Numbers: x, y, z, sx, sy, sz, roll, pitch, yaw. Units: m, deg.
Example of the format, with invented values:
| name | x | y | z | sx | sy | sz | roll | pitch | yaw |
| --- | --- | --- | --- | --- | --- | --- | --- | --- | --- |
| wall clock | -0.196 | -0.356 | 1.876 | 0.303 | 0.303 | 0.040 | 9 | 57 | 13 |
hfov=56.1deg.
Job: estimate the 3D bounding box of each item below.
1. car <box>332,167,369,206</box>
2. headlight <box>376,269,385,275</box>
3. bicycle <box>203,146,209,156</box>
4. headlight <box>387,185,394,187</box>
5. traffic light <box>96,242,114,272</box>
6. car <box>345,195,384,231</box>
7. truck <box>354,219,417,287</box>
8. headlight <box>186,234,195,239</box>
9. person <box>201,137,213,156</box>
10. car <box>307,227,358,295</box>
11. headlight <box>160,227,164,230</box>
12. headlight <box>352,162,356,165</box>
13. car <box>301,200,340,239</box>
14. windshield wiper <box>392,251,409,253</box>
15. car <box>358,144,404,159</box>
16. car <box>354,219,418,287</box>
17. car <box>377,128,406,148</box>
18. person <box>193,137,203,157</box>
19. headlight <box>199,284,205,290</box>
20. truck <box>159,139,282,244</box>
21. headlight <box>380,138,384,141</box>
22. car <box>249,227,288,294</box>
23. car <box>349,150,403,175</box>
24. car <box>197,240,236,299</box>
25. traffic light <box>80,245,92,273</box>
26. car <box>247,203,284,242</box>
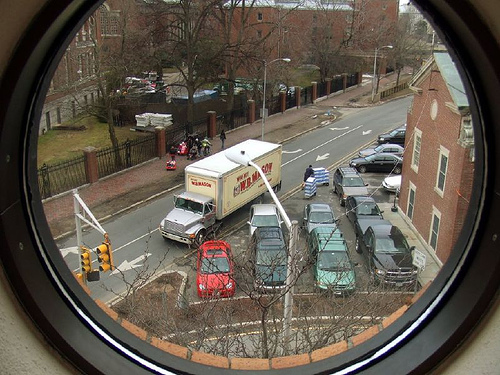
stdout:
| name | x | y | z | sx | sy | sz | roll | pitch | yaw |
| --- | --- | --- | --- | --- | --- | --- | --- | --- | --- |
| car | 5.644 | -0.006 | 26.630 | 1.502 | 1.721 | 3.781 | 3 | 16 | -1 |
| headlight | 4.684 | 3.054 | 16.919 | 0.286 | 0.230 | 0.536 | -3 | -13 | 15 |
| bicycle | -3.128 | -2.562 | 33.089 | 0.149 | 0.504 | 0.457 | 3 | 17 | 0 |
| headlight | 8.045 | -0.075 | 27.195 | 0.291 | 0.126 | 0.037 | -9 | -14 | 37 |
| traffic light | -3.459 | 1.647 | 11.125 | 0.378 | 0.677 | 0.725 | 3 | -12 | -11 |
| car | 5.544 | 1.242 | 23.124 | 1.372 | 1.297 | 3.655 | 3 | 16 | 1 |
| truck | 5.268 | 2.722 | 18.339 | 1.491 | 1.673 | 4.697 | -2 | 20 | 1 |
| headlight | -2.558 | 2.100 | 19.948 | 0.373 | 0.192 | 0.080 | 0 | -10 | 3 |
| person | -3.111 | -3.038 | 33.180 | 0.581 | 0.647 | 0.990 | 2 | 31 | 3 |
| car | 2.805 | 2.439 | 16.100 | 1.353 | 1.572 | 3.865 | -2 | 10 | 1 |
| headlight | -3.878 | 1.814 | 20.595 | 0.121 | 0.149 | 0.073 | -5 | 14 | -40 |
| headlight | 6.765 | -1.540 | 30.796 | 0.172 | 0.199 | 0.047 | -1 | -7 | 7 |
| car | 3.296 | 1.616 | 22.218 | 1.516 | 1.445 | 3.988 | 0 | 17 | 2 |
| windshield wiper | 5.728 | 2.487 | 17.955 | 0.607 | 0.060 | 0.076 | 1 | -12 | -5 |
| car | 9.030 | -2.612 | 32.634 | 2.520 | 1.038 | 1.232 | 3 | 22 | 8 |
| car | 5.268 | 2.490 | 17.958 | 1.425 | 1.579 | 4.515 | -2 | 21 | 1 |
| car | 11.110 | -3.813 | 37.199 | 1.981 | 1.200 | 1.307 | 2 | 17 | 5 |
| person | -3.715 | -2.861 | 33.331 | 0.524 | 1.282 | 0.716 | 2 | 1 | -2 |
| headlight | -1.626 | 3.308 | 15.658 | 0.176 | 0.144 | 0.527 | 1 | -12 | -4 |
| truck | -1.291 | 0.209 | 23.061 | 2.244 | 3.255 | 7.388 | 12 | 24 | 34 |
| headlight | 10.332 | -3.778 | 36.967 | 0.276 | 0.194 | 0.216 | 4 | 6 | -4 |
| car | 0.720 | 2.696 | 17.483 | 1.295 | 1.512 | 3.581 | 2 | 14 | -3 |
| car | 8.164 | -1.511 | 30.756 | 3.086 | 1.332 | 1.514 | 3 | 20 | 1 |
| car | -1.279 | 2.873 | 17.029 | 1.275 | 1.164 | 3.305 | -1 | 16 | -5 |
| traffic light | -4.008 | 1.775 | 11.499 | 0.270 | 0.641 | 0.515 | 4 | -12 | -19 |
| car | 0.651 | 1.892 | 21.733 | 1.534 | 1.648 | 4.014 | 0 | 10 | 1 |
